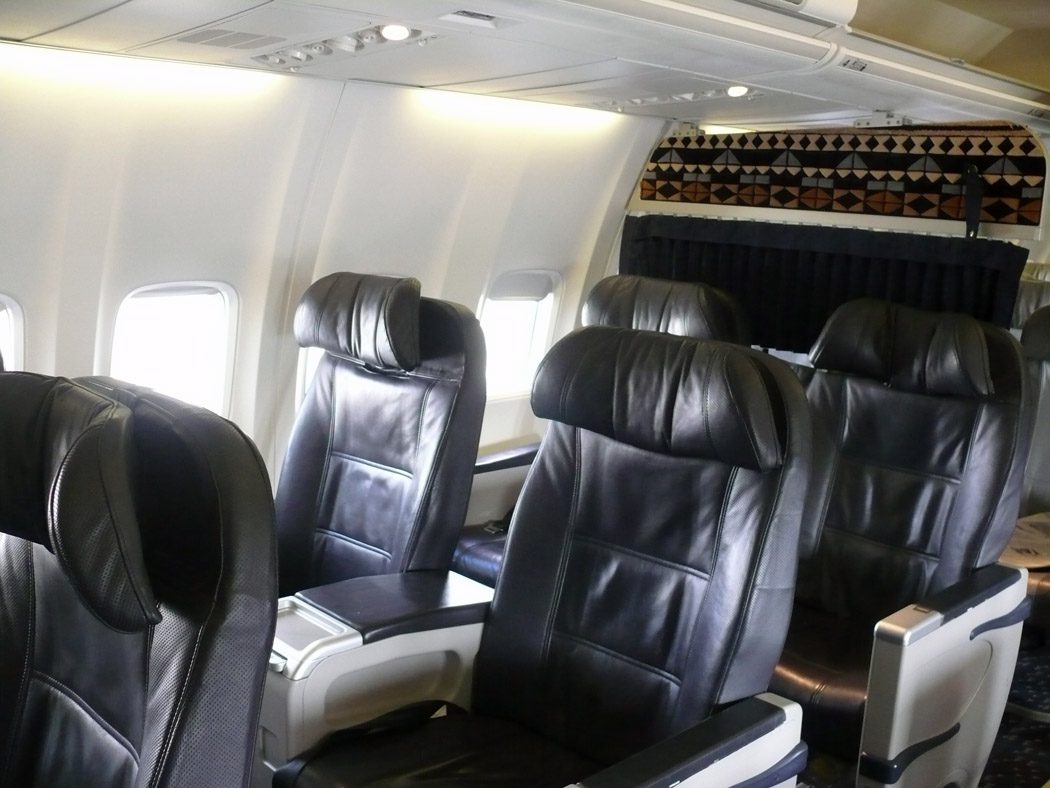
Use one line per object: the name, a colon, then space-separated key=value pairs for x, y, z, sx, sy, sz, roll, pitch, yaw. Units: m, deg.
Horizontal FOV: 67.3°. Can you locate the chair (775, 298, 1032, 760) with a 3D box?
chair: x=1.090 y=0.345 z=2.385 sx=0.708 sy=1.220 sz=0.765 roll=10 pitch=10 yaw=26
